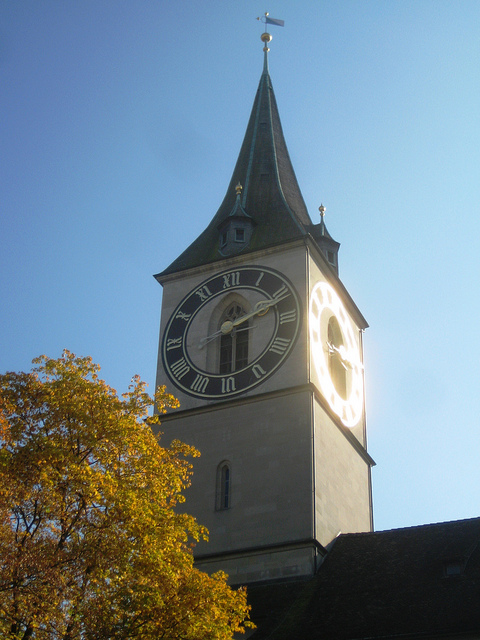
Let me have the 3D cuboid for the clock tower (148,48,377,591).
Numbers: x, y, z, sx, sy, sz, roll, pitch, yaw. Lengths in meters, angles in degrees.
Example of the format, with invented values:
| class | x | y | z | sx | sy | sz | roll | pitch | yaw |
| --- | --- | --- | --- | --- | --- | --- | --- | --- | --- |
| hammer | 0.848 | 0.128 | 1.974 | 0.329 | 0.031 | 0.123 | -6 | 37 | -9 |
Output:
| class | x | y | z | sx | sy | sz | roll | pitch | yaw |
| --- | --- | --- | --- | --- | --- | --- | --- | --- | --- |
| clock tower | 0.491 | 0.251 | 28.918 | 3.760 | 15.109 | 3.438 | -16 | -43 | 21 |
